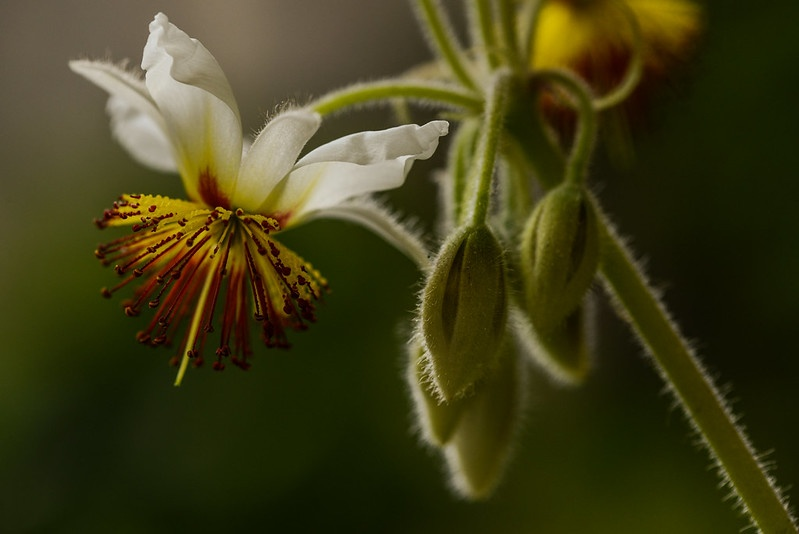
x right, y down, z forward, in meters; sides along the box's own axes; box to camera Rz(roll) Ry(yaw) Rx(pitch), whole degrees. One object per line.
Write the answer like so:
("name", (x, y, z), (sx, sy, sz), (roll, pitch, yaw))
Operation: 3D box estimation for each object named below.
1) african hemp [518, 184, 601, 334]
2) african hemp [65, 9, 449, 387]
("african hemp", (0.236, -0.007, 1.192), (0.063, 0.206, 0.129), (10, -4, -38))
("african hemp", (-0.232, -0.145, 1.418), (0.672, 0.431, 0.326), (-10, 7, 9))
